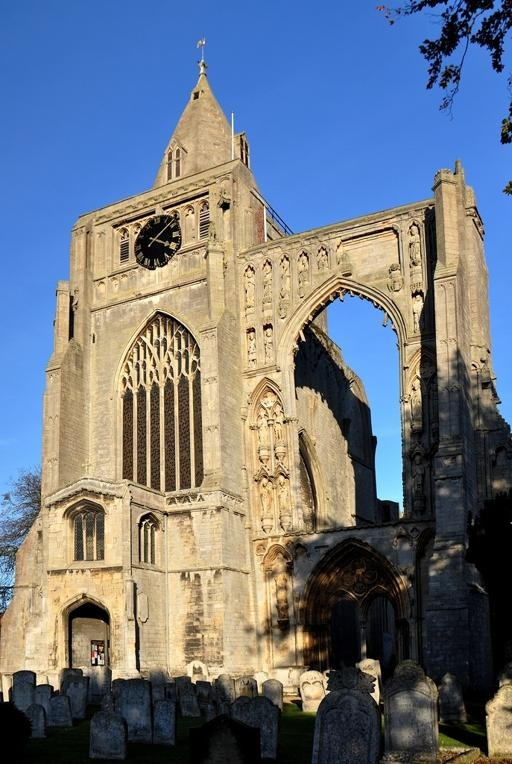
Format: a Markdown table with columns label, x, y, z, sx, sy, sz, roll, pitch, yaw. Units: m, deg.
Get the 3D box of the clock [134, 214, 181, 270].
| label | x | y | z | sx | sy | sz | roll | pitch | yaw |
| --- | --- | --- | --- | --- | --- | --- | --- | --- | --- |
| clock | -3.670 | -5.155 | 43.523 | 2.151 | 2.310 | 0.451 | -16 | -22 | 37 |
